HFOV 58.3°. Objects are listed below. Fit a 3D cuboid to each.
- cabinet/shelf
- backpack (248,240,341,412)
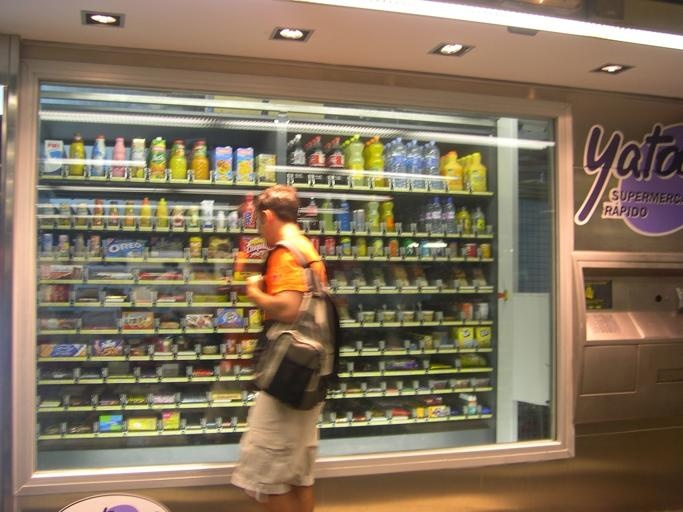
[{"bbox_3d":[-0.722,0.165,3.857,3.106,1.858,0.927,1,-5,-14],"label":"cabinet/shelf"},{"bbox_3d":[-0.235,0.367,3.214,0.442,0.870,0.181,1,1,0],"label":"backpack"}]
